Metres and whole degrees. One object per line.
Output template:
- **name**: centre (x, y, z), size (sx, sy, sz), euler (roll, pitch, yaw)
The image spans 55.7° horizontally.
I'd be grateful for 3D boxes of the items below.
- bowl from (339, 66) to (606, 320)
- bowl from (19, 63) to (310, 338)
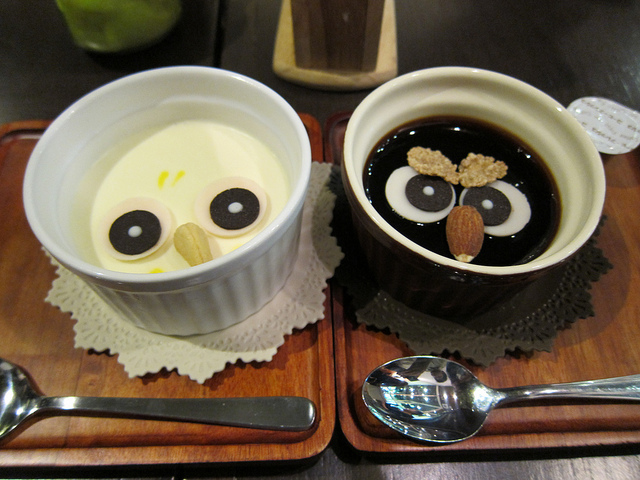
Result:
- **bowl**: centre (0.292, -0.074, 1.182), size (0.456, 0.207, 0.358), euler (3, 81, -2)
- **bowl**: centre (-0.279, -0.091, 1.170), size (0.516, 0.227, 0.503), euler (0, 69, 0)
